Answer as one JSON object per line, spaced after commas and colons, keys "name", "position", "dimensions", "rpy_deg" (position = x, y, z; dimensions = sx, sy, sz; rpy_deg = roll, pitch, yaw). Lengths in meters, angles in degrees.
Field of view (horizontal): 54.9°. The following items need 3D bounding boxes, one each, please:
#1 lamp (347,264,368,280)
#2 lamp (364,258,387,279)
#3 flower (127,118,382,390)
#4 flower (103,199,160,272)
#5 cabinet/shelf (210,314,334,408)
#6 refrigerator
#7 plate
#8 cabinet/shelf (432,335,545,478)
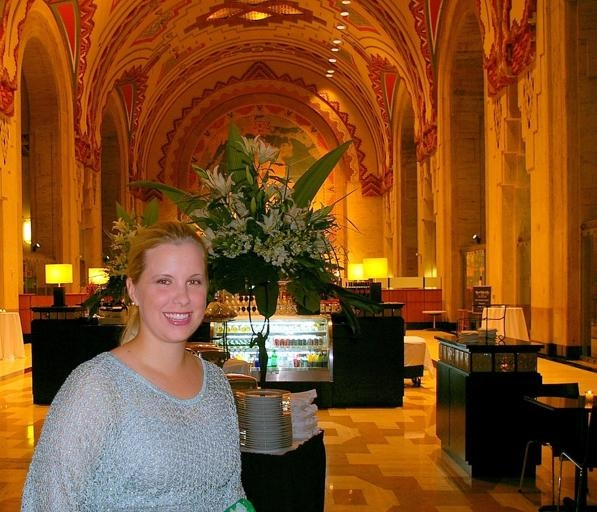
{"name": "lamp", "position": [2.048, 0.563, 20.724], "dimensions": [0.691, 0.701, 0.659], "rpy_deg": [0, -3, -4]}
{"name": "lamp", "position": [2.069, 0.335, 15.730], "dimensions": [0.598, 0.631, 0.571], "rpy_deg": [2, -1, -3]}
{"name": "flower", "position": [-0.129, -0.046, 2.495], "dimensions": [0.687, 0.878, 0.964], "rpy_deg": [-9, 10, -20]}
{"name": "flower", "position": [-1.013, -0.119, 3.567], "dimensions": [0.244, 0.384, 0.278], "rpy_deg": [-4, -4, -9]}
{"name": "cabinet/shelf", "position": [-0.361, 1.415, 7.695], "dimensions": [1.749, 1.319, 0.631], "rpy_deg": [-1, -6, 13]}
{"name": "refrigerator", "position": [-0.199, 1.164, 7.497], "dimensions": [1.703, 0.949, 0.515], "rpy_deg": [-3, -1, 33]}
{"name": "plate", "position": [-0.133, 0.753, 2.686], "dimensions": [0.272, 0.261, 0.255], "rpy_deg": [-2, -4, 0]}
{"name": "cabinet/shelf", "position": [1.693, 1.294, 5.277], "dimensions": [0.699, 1.080, 1.215], "rpy_deg": [0, -3, -3]}
